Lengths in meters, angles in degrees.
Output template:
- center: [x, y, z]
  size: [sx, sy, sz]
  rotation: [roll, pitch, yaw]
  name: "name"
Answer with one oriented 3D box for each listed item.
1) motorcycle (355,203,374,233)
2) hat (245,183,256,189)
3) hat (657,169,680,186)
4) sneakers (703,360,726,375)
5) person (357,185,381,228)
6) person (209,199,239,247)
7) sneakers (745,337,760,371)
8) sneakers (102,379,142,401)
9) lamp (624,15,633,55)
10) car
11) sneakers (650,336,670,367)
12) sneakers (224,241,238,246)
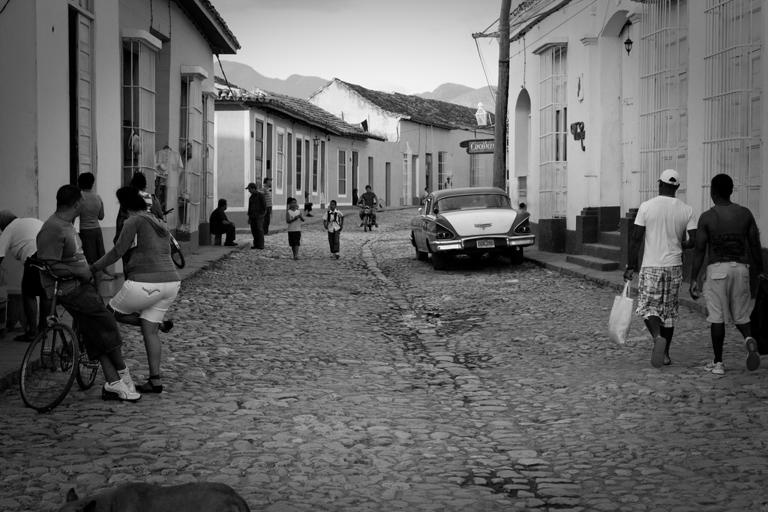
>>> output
- center: [-0.691, -1.614, 29.014]
  size: [0.546, 1.148, 0.918]
  rotation: [0, 7, 4]
  name: "motorcycle"
- center: [-4.352, -2.287, 23.117]
  size: [0.291, 0.218, 0.567]
  rotation: [4, 0, -16]
  name: "hat"
- center: [3.571, -0.972, 8.780]
  size: [0.259, 0.207, 0.391]
  rotation: [7, 7, 1]
  name: "hat"
- center: [3.797, 1.296, 8.009]
  size: [0.107, 0.115, 0.259]
  rotation: [-1, 9, -4]
  name: "sneakers"
- center: [-0.734, -1.795, 29.309]
  size: [0.922, 1.275, 1.962]
  rotation: [4, 10, -2]
  name: "person"
- center: [-4.977, -1.055, 21.565]
  size: [0.799, 1.397, 1.664]
  rotation: [-2, 7, -13]
  name: "person"
- center: [4.125, 1.105, 7.835]
  size: [0.164, 0.405, 0.165]
  rotation: [-5, -7, -1]
  name: "sneakers"
- center: [-2.721, 1.402, 7.258]
  size: [0.413, 0.213, 0.170]
  rotation: [6, 5, 3]
  name: "sneakers"
- center: [5.814, -5.201, 16.565]
  size: [0.225, 0.800, 0.749]
  rotation: [2, 7, 17]
  name: "lamp"
- center: [2.195, -0.727, 17.433]
  size: [2.399, 1.942, 2.630]
  rotation: [-1, 7, -8]
  name: "car"
- center: [3.208, 1.120, 8.113]
  size: [0.205, 0.426, 0.172]
  rotation: [-2, 3, 2]
  name: "sneakers"
- center: [-4.670, -0.363, 21.398]
  size: [0.471, 0.211, 0.163]
  rotation: [0, 4, 1]
  name: "sneakers"
